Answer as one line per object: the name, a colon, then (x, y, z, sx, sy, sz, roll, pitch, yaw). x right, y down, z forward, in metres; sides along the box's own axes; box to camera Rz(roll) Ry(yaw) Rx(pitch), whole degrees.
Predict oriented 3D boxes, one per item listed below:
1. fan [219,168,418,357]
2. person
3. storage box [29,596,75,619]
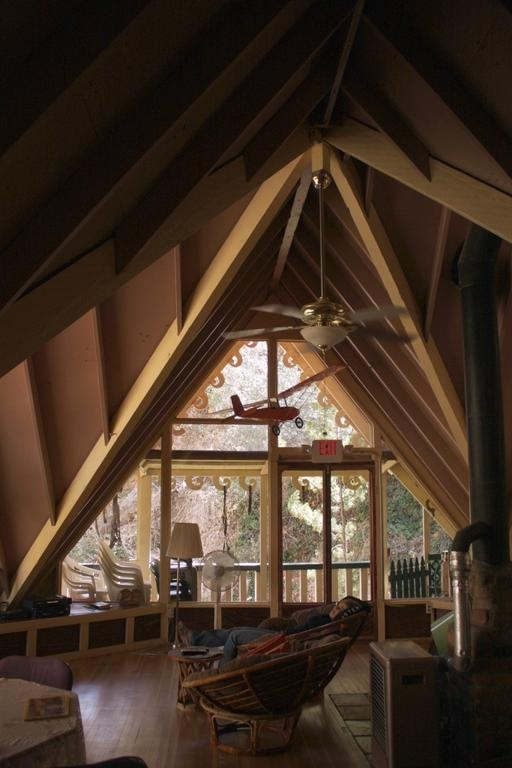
fan: (0.367, -0.673, 3.512, 0.803, 0.972, 0.738, 8, -13, -42)
person: (0.115, 1.858, 4.228, 1.017, 0.605, 1.187, -1, -13, 24)
storage box: (-1.946, 2.134, 6.215, 0.118, 0.180, 0.416, -9, -13, 41)
